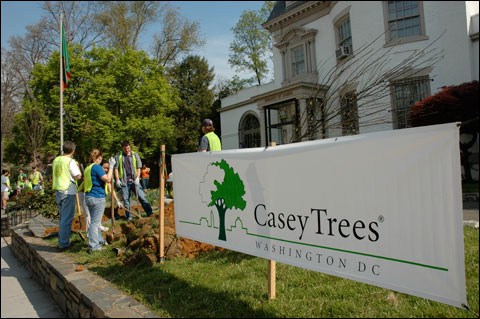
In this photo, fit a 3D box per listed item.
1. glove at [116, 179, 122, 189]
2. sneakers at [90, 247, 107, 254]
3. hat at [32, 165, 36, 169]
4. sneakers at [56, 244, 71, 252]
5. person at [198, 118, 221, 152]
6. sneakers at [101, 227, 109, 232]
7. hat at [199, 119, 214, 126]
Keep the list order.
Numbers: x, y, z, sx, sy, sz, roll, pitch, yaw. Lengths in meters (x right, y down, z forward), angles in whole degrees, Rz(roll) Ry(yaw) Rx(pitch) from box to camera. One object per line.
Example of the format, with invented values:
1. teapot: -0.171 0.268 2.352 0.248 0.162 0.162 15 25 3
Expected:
1. glove: -4.227 0.888 14.916 0.215 0.342 0.110 6 11 27
2. sneakers: -4.098 2.615 12.276 0.435 0.233 0.168 -9 14 -6
3. hat: -12.241 0.469 25.217 0.190 0.165 0.202 3 -4 -22
4. sneakers: -5.260 2.622 12.652 0.323 0.257 0.172 -1 5 -15
5. person: -0.924 -0.728 12.428 0.569 0.948 1.414 -6 4 0
6. sneakers: -4.440 2.320 14.113 0.316 0.160 0.137 -3 0 6
7. hat: -1.023 -1.049 12.707 0.296 0.266 0.462 -10 17 -33
